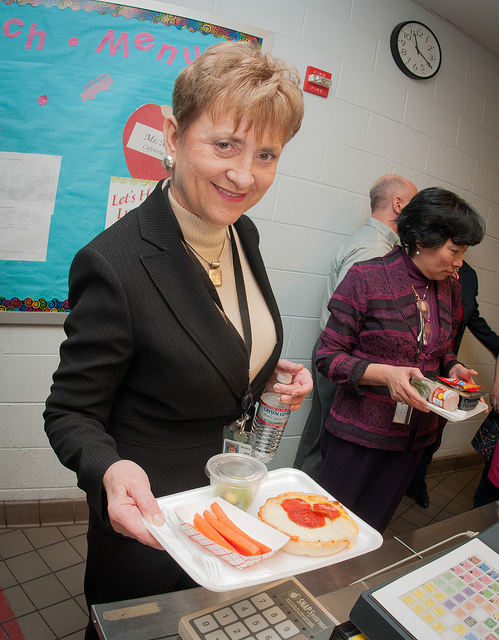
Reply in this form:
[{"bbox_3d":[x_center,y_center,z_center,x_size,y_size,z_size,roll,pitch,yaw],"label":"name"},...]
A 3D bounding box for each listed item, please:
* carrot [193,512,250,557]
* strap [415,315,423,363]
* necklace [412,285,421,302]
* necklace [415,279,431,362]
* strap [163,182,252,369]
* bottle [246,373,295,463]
[{"bbox_3d":[-0.042,0.274,0.563,0.030,0.021,0.094,0,11,-44],"label":"carrot"},{"bbox_3d":[0.585,0.081,1.535,0.015,0.128,0.015,11,-10,-32],"label":"strap"},{"bbox_3d":[0.587,-0.098,1.588,0.022,0.019,0.070,14,49,-19],"label":"necklace"},{"bbox_3d":[0.612,-0.006,1.573,0.014,0.301,0.056,13,-6,-27],"label":"necklace"},{"bbox_3d":[-0.102,-0.036,0.814,0.026,0.106,0.371,13,48,-59],"label":"strap"},{"bbox_3d":[0.042,0.204,0.868,0.070,0.166,0.070,14,9,-2],"label":"bottle"}]
